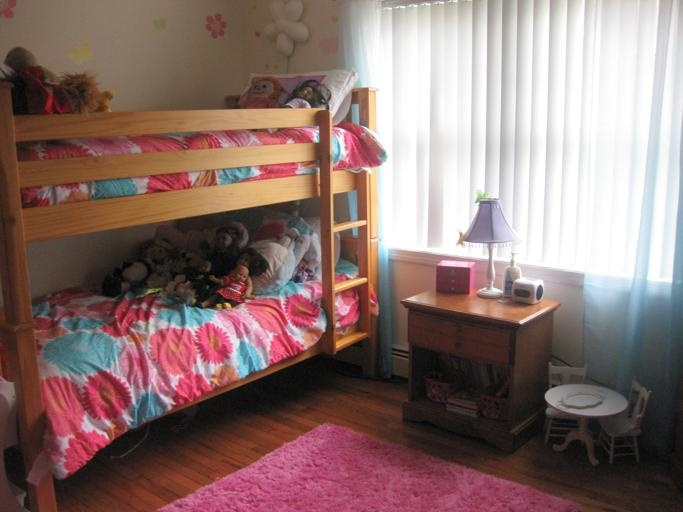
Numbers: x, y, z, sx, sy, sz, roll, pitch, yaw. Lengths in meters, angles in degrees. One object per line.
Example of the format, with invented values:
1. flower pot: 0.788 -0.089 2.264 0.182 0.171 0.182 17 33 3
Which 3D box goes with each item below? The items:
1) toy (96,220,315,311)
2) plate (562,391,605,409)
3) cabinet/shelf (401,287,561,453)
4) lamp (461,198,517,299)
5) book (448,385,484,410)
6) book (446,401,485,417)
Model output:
1. toy: -0.792 0.011 3.442 0.892 0.282 0.655 -6 15 -31
2. plate: 1.250 0.755 2.873 0.211 0.013 0.147 0 14 7
3. cabinet/shelf: 0.816 0.643 3.279 0.572 0.701 0.747 -6 9 -43
4. lamp: 0.868 -0.059 3.258 0.305 0.571 0.364 2 15 14
5. book: 0.711 0.815 3.153 0.128 0.029 0.128 1 6 37
6. book: 0.685 0.861 3.107 0.112 0.035 0.087 7 8 44
